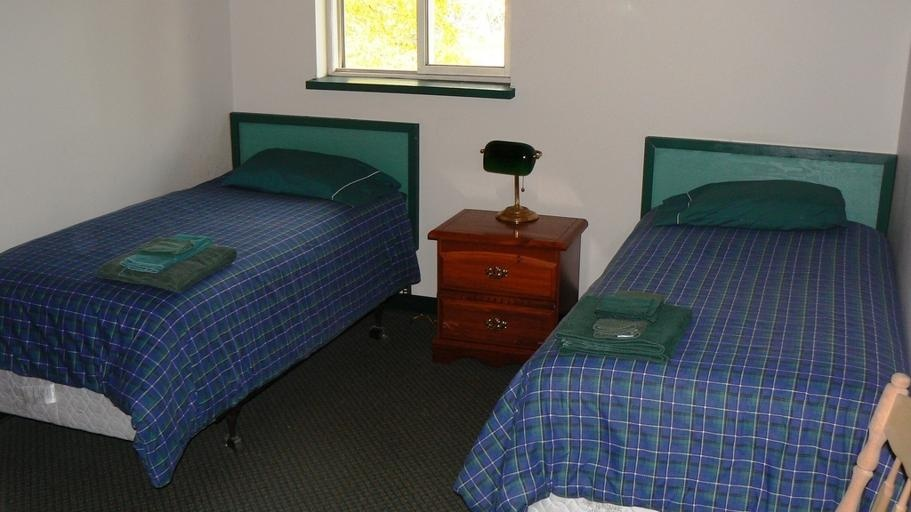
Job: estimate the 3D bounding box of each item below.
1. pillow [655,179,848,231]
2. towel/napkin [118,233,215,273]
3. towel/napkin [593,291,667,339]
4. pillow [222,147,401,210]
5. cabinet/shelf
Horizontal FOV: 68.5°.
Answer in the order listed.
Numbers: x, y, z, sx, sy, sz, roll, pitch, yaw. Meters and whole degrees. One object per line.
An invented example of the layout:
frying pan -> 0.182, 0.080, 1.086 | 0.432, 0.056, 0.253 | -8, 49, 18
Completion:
pillow -> 1.984, -0.336, 4.487 | 0.935, 0.166, 0.538 | 5, 25, 15
towel/napkin -> -1.679, -0.020, 3.871 | 0.273, 0.094, 0.452 | 13, 25, 24
towel/napkin -> 0.853, 0.291, 3.350 | 0.228, 0.082, 0.283 | 1, 18, 19
pillow -> -1.116, -0.596, 5.021 | 1.006, 0.190, 0.575 | 6, 20, 10
cabinet/shelf -> 0.235, 0.207, 5.100 | 1.327, 1.192, 0.955 | 4, 13, 19
